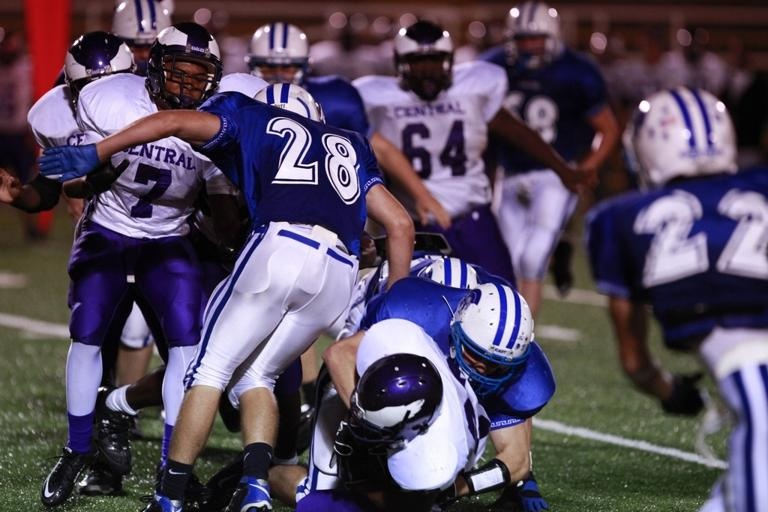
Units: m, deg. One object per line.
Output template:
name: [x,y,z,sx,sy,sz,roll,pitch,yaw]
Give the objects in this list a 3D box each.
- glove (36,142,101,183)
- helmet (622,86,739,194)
glove: [-1.159,-0.324,3.378,0.311,0.075,0.172,-10,-7,-42]
helmet: [1.079,-0.404,3.457,0.353,0.395,0.456,-7,-2,6]
